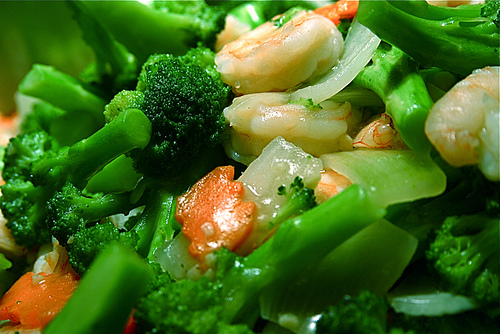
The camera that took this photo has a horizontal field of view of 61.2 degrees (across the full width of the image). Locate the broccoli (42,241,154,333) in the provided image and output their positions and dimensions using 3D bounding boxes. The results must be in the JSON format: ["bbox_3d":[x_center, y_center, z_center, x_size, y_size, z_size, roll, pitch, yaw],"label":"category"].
[{"bbox_3d":[-0.338,0.284,0.952,0.138,0.177,0.249,5,101,21],"label":"broccoli"}]

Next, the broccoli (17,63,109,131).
[{"bbox_3d":[-0.668,-0.260,1.567,0.155,0.239,0.294,-9,101,15],"label":"broccoli"}]

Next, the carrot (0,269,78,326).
[{"bbox_3d":[-0.567,0.352,1.126,0.166,0.050,0.174,24,69,42],"label":"carrot"}]

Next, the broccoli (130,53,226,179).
[{"bbox_3d":[-0.199,-0.141,1.157,0.250,0.152,0.308,-5,59,15],"label":"broccoli"}]

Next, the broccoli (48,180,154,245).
[{"bbox_3d":[-0.419,0.113,1.221,0.244,0.115,0.161,-20,89,-9],"label":"broccoli"}]

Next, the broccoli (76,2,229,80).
[{"bbox_3d":[-0.334,-0.479,1.451,0.433,0.308,0.195,12,61,-20],"label":"broccoli"}]

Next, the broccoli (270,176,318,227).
[{"bbox_3d":[0.113,0.086,1.079,0.117,0.061,0.103,-40,80,9],"label":"broccoli"}]

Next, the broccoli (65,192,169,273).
[{"bbox_3d":[-0.332,0.168,1.149,0.277,0.110,0.160,-42,83,-18],"label":"broccoli"}]

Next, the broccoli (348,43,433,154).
[{"bbox_3d":[0.392,-0.192,1.087,0.166,0.088,0.313,-32,56,-2],"label":"broccoli"}]

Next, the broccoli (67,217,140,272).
[{"bbox_3d":[-0.383,0.186,1.136,0.147,0.084,0.138,-23,97,7],"label":"broccoli"}]

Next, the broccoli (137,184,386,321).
[{"bbox_3d":[0.020,0.189,1.000,0.502,0.310,0.131,-34,39,15],"label":"broccoli"}]
